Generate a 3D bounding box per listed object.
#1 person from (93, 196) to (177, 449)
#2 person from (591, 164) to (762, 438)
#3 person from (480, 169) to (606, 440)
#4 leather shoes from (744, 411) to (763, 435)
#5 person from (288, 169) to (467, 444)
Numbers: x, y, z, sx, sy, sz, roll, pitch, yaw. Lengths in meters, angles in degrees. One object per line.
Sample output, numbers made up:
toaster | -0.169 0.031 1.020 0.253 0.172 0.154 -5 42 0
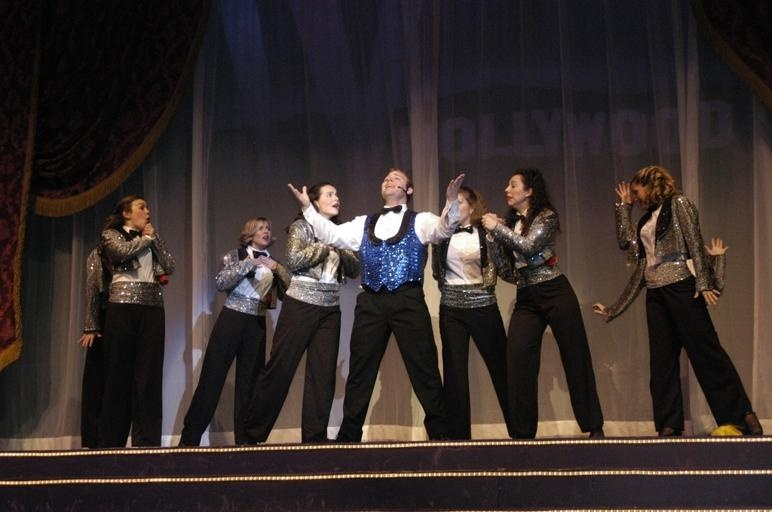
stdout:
person | -2.115 0.516 6.771 0.601 2.146 0.355 3 -10 -23
person | 2.306 0.326 6.305 1.000 2.128 0.307 -6 -10 26
person | 1.223 0.331 6.267 0.833 2.142 0.384 -4 -9 14
leather shoes | 2.776 1.270 6.024 0.119 0.173 0.044 11 -25 -42
person | 0.009 0.346 6.186 1.173 2.128 0.553 -2 -9 5
